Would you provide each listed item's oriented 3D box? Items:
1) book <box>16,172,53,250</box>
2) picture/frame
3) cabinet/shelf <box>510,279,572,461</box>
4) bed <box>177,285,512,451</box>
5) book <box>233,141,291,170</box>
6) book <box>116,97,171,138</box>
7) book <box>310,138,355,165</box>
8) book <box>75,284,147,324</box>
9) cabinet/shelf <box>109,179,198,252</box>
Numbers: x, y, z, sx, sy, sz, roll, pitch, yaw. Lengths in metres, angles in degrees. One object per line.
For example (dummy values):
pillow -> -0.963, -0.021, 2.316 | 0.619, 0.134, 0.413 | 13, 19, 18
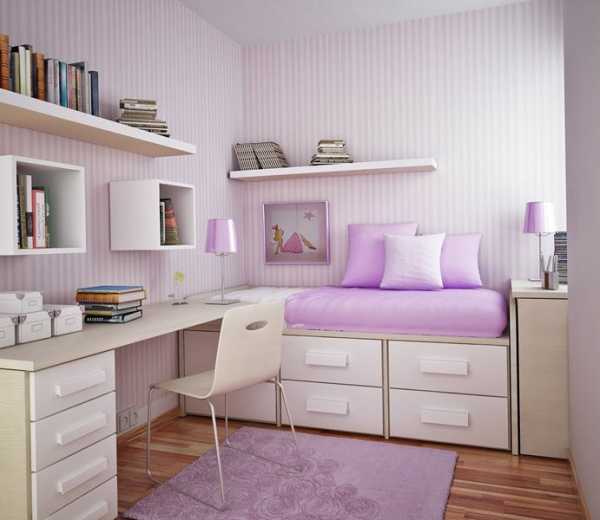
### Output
book -> -1.094, -0.195, 2.139 | 0.047, 0.299, 0.150 | 2, 8, 24
picture/frame -> 0.000, -0.213, 3.999 | 0.545, 0.435, 0.055 | 0, 0, 18
cabinet/shelf -> 1.233, 0.570, 2.725 | 0.287, 0.835, 0.210 | 2, 8, 20
bed -> 0.296, 0.603, 3.345 | 2.061, 0.781, 0.769 | -1, 2, 23
book -> -0.298, -0.767, 3.900 | 0.301, 0.191, 0.264 | 0, 1, 5
book -> -0.798, -0.722, 2.726 | 0.274, 0.170, 0.197 | -3, 4, -41
book -> 0.215, -0.751, 3.798 | 0.232, 0.128, 0.221 | 0, 0, 0
book -> -0.906, 0.186, 2.507 | 0.216, 0.123, 0.207 | 0, 1, 21
cabinet/shelf -> -0.802, -0.238, 2.886 | 0.349, 0.383, 0.330 | 1, 7, 16
